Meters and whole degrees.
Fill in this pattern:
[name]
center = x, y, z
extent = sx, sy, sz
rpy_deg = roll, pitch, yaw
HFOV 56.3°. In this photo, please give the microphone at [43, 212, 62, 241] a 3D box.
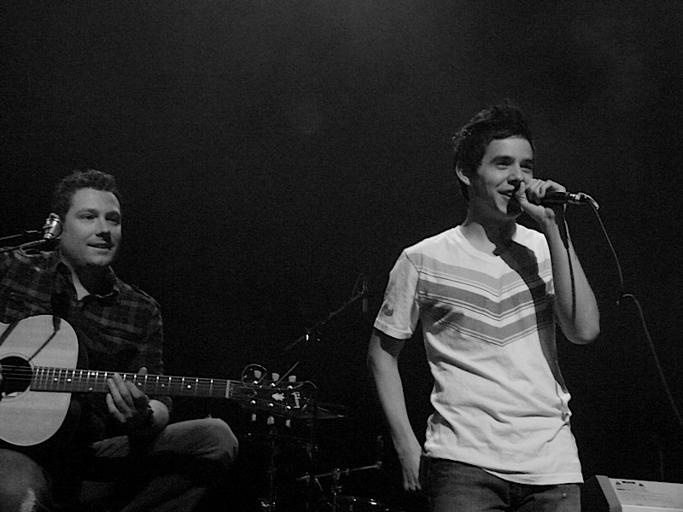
[microphone]
center = -1.341, -0.139, 3.027
extent = 0.098, 0.123, 0.134
rpy_deg = 1, -15, -9
